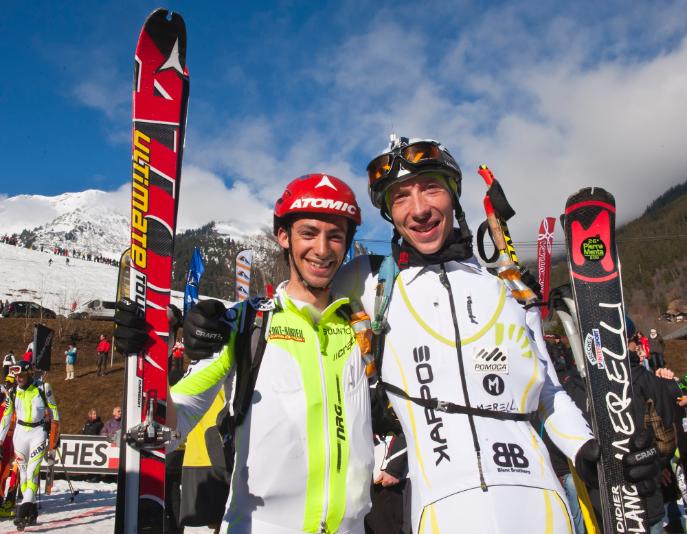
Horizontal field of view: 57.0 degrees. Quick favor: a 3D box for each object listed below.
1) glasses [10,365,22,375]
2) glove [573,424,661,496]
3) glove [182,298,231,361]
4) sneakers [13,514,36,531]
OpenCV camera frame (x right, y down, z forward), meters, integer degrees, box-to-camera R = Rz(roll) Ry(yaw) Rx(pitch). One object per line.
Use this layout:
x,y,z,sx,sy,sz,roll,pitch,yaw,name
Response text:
-5.989,1.885,11.453,0.162,0.164,0.283,19,-30,-39,glasses
2.260,1.621,5.260,0.621,0.767,0.252,0,1,15,glove
-1.036,0.495,4.875,0.314,0.477,0.440,9,-12,-17,glove
-5.297,4.267,10.475,0.215,0.209,0.329,-1,-21,-18,sneakers
